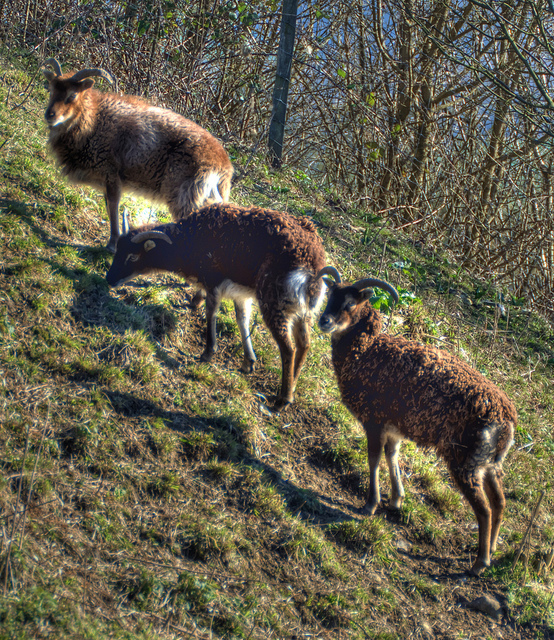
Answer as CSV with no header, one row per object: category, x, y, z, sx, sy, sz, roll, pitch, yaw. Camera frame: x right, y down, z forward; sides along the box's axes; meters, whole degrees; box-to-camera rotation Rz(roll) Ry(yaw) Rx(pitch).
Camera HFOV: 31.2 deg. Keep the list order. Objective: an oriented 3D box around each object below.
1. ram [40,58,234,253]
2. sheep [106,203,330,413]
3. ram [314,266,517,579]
ram,-1.423,-1.861,10.647,1.644,2.298,1.907,-1,18,-18
sheep,-0.547,-0.323,10.103,2.618,1.830,0.753,12,23,37
ram,1.551,0.598,9.625,1.986,2.686,2.674,12,23,42
